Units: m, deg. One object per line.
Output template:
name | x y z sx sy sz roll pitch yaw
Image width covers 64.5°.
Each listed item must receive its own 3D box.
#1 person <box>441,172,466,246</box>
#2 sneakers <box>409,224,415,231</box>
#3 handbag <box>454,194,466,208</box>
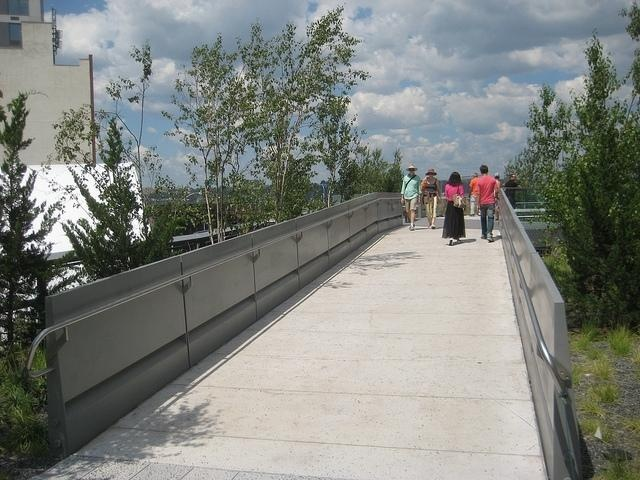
person | 3.707 -0.846 14.134 0.582 2.087 1.357 0 9 14
sneakers | 3.183 -0.414 17.642 0.181 0.255 0.223 -2 0 0
handbag | 3.767 -1.025 13.806 0.375 0.494 0.234 -3 0 26
